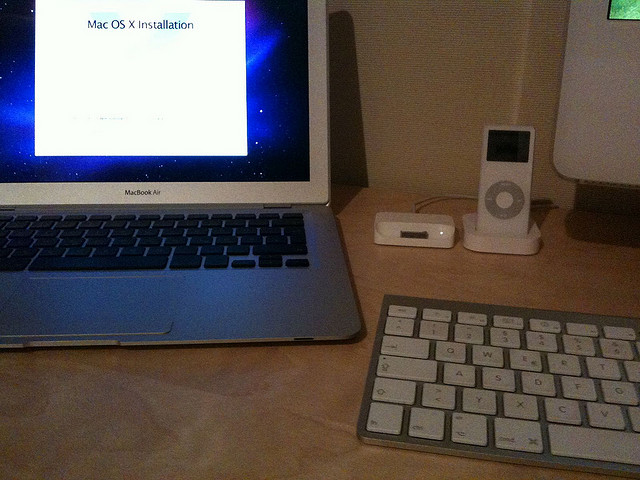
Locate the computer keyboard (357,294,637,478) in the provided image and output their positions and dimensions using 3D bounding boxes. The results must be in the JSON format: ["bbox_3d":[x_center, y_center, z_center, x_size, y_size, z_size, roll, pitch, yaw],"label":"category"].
[{"bbox_3d":[0.167,0.119,0.442,0.245,0.046,0.170,3,29,12],"label":"computer keyboard"}]
